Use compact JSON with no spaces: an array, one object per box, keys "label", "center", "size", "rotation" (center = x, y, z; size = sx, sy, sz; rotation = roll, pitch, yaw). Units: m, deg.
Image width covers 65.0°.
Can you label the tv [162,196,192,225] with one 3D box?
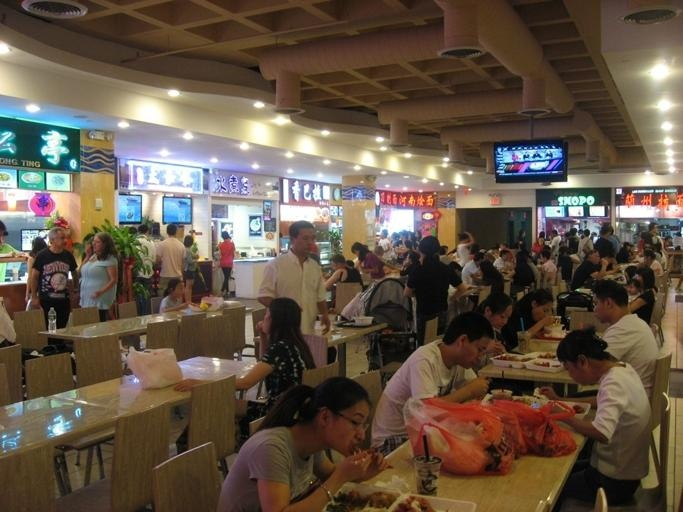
[{"label":"tv","center":[-3.783,-1.044,12.167],"size":[0.112,0.658,0.881],"rotation":[-2,-1,32]}]

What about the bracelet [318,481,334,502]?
[{"label":"bracelet","center":[-0.052,0.930,2.101],"size":[0.020,0.064,0.067],"rotation":[-21,-9,-24]}]

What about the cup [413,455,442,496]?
[{"label":"cup","center":[0.362,0.970,2.340],"size":[0.138,0.166,0.143],"rotation":[-1,-4,0]}]

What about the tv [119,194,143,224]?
[{"label":"tv","center":[-4.429,-0.992,11.178],"size":[0.068,0.708,0.707],"rotation":[-5,-4,31]}]

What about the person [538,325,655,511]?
[{"label":"person","center":[1.402,0.911,2.933],"size":[0.494,0.924,0.482],"rotation":[5,6,30]}]

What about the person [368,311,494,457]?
[{"label":"person","center":[0.531,0.705,3.051],"size":[0.829,0.785,0.472],"rotation":[-2,6,-35]}]

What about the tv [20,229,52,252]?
[{"label":"tv","center":[-4.810,-0.260,8.420],"size":[0.462,0.435,0.046],"rotation":[1,-4,-27]}]

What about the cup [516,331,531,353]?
[{"label":"cup","center":[1.582,0.756,4.690],"size":[0.143,0.161,0.149],"rotation":[-3,0,0]}]
